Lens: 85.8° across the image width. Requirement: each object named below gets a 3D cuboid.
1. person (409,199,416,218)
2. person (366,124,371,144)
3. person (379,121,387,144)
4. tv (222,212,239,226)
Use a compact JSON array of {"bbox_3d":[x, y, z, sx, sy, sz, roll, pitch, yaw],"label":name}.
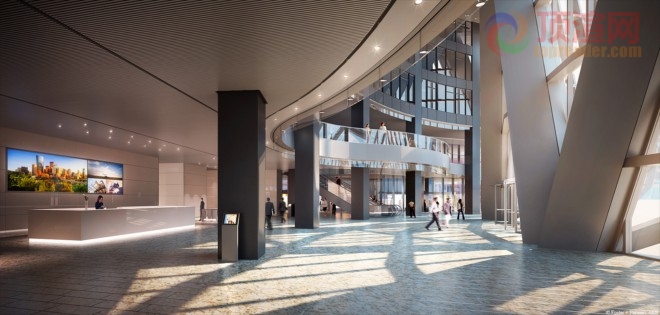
[{"bbox_3d":[7.989,5.012,34.624,0.653,1.459,1.338,1,6,12],"label":"person"},{"bbox_3d":[3.122,-1.785,29.141,0.457,1.159,0.350,-1,7,-9],"label":"person"},{"bbox_3d":[4.493,-2.058,29.975,0.638,1.729,1.039,1,7,12],"label":"person"},{"bbox_3d":[-4.505,2.835,16.143,0.749,0.455,0.071,1,-24,5],"label":"tv"}]
